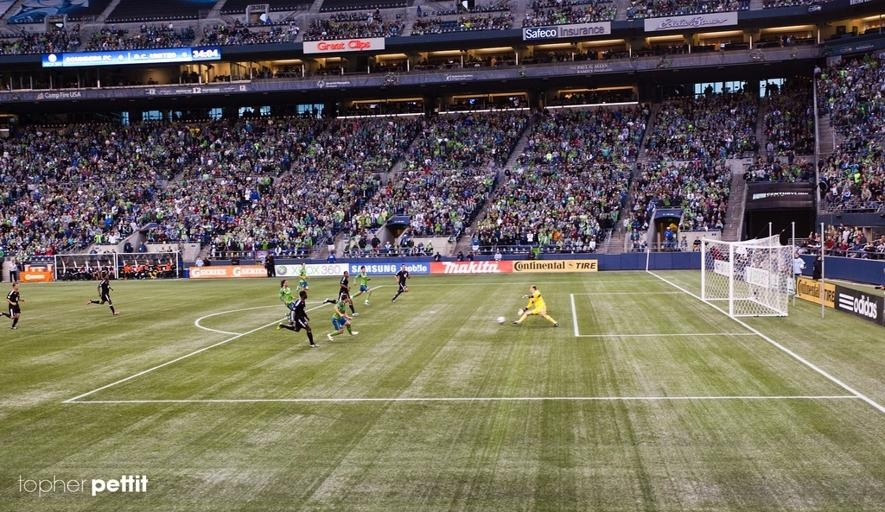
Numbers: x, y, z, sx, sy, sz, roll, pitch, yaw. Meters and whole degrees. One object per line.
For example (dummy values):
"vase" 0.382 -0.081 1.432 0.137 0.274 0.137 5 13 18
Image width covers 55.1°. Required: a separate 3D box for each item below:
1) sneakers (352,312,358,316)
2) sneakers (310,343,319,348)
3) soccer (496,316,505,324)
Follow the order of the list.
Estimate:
"sneakers" -5.725 3.783 55.473 0.330 0.124 0.184 -6 -2 39
"sneakers" -7.322 5.139 48.583 0.527 0.203 0.179 -2 0 1
"soccer" 3.555 3.878 51.689 0.416 0.276 0.387 -1 1 7
